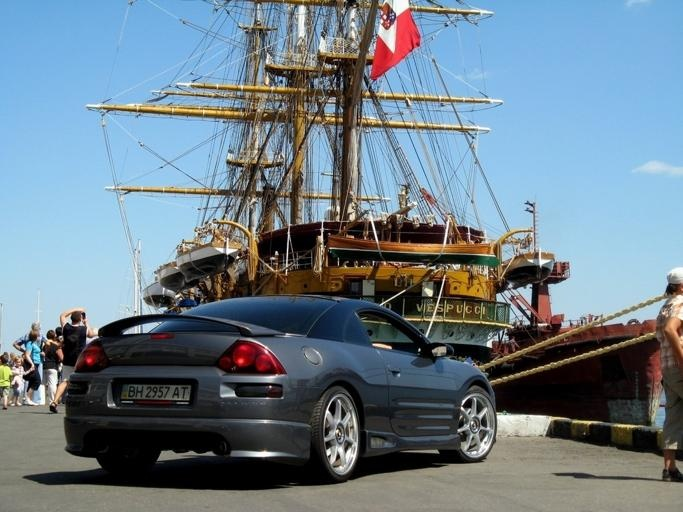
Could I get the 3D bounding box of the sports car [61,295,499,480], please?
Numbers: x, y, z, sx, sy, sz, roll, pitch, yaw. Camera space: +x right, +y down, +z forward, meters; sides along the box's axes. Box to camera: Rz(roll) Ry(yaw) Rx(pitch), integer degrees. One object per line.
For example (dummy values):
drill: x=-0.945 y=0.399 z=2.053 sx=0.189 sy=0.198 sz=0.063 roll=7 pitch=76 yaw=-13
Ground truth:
sports car: x=-0.448 y=1.248 z=10.113 sx=3.956 sy=1.749 sz=1.643 roll=5 pitch=0 yaw=-40
